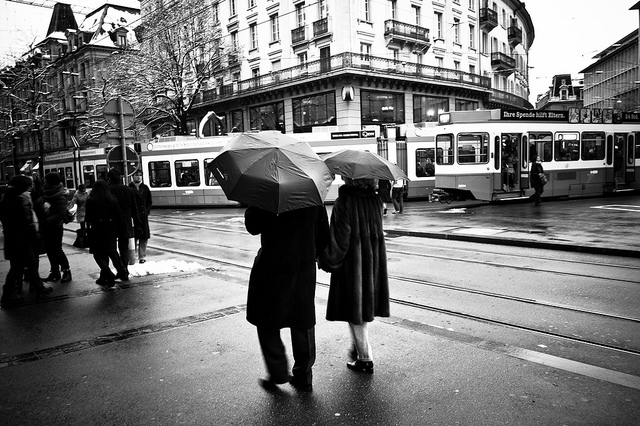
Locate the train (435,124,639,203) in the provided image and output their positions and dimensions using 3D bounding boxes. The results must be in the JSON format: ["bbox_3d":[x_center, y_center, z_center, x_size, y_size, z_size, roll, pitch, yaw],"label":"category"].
[{"bbox_3d":[10.481,-2.507,26.334,13.108,4.808,3.620,-2,3,-21],"label":"train"}]

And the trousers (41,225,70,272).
[{"bbox_3d":[-5.989,0.838,12.323,0.457,1.106,0.525,-8,15,-28],"label":"trousers"}]

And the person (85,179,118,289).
[{"bbox_3d":[-4.651,0.402,11.755,0.701,2.222,0.673,5,14,27],"label":"person"}]

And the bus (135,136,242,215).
[{"bbox_3d":[-5.821,-1.700,23.846,3.719,2.742,1.379,1,4,19],"label":"bus"}]

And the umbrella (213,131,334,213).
[{"bbox_3d":[-0.660,-0.606,7.625,1.605,0.976,0.818,-1,14,1],"label":"umbrella"}]

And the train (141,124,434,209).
[{"bbox_3d":[-3.569,-2.012,29.988,16.063,5.084,3.309,0,-9,29],"label":"train"}]

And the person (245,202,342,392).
[{"bbox_3d":[-0.386,0.676,8.133,1.375,3.849,1.095,-5,21,-19],"label":"person"}]

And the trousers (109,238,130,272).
[{"bbox_3d":[-4.467,0.946,12.110,0.249,0.726,0.649,-2,14,-2],"label":"trousers"}]

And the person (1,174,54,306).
[{"bbox_3d":[-6.050,0.536,11.024,0.879,2.515,0.916,-8,15,-28],"label":"person"}]
